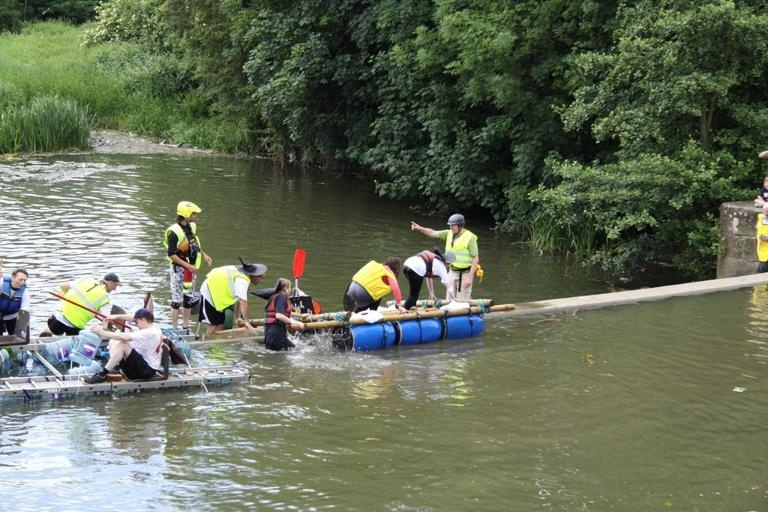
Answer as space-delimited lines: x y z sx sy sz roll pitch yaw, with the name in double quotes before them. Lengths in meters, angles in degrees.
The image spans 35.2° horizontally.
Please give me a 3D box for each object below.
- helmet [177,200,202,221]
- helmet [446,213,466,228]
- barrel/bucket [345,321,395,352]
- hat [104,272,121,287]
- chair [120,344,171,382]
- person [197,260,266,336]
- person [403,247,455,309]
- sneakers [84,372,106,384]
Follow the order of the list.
"helmet" -4.771 -1.090 29.201 0.478 0.415 0.601 -5 5 -15
"helmet" 1.876 -0.919 31.185 0.448 0.343 0.334 -14 20 -10
"barrel/bucket" -0.370 2.018 29.676 1.289 0.771 0.768 1 37 -22
"hat" -6.340 0.550 28.269 0.427 0.230 0.286 9 18 -44
"chair" -5.474 2.413 27.448 0.933 0.592 0.834 1 0 -16
"person" -3.782 1.110 29.958 1.306 0.778 1.661 -9 -29 -19
"person" 1.097 0.732 30.665 1.612 1.552 1.021 -4 21 -18
"sneakers" -6.513 2.722 27.113 0.450 0.171 0.213 1 3 -9
